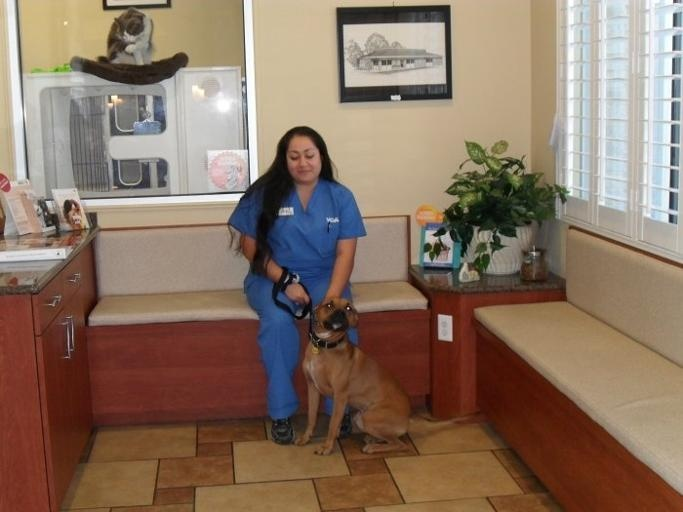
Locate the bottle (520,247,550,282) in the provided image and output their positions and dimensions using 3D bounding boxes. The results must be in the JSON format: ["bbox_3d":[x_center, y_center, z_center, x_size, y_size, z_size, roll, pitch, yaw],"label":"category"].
[{"bbox_3d":[1.030,0.043,3.132,0.153,0.185,0.159,-2,6,-11],"label":"bottle"}]

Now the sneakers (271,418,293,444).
[{"bbox_3d":[-0.290,0.866,2.829,0.091,0.047,0.124,0,-1,-4],"label":"sneakers"}]

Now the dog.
[{"bbox_3d":[0.228,0.588,2.798,0.830,0.701,0.306,3,-6,-20],"label":"dog"}]

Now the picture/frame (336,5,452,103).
[{"bbox_3d":[0.294,-1.260,3.464,0.538,0.432,0.028,-1,5,-6],"label":"picture/frame"}]

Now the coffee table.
[{"bbox_3d":[0.806,0.384,3.352,0.771,0.801,0.688,-2,9,-8],"label":"coffee table"}]

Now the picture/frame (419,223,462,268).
[{"bbox_3d":[0.584,-0.068,3.305,0.240,0.277,0.028,0,4,4],"label":"picture/frame"}]

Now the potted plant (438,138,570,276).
[{"bbox_3d":[0.862,-0.307,3.243,0.695,0.732,0.699,-3,4,-42],"label":"potted plant"}]

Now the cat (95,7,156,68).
[{"bbox_3d":[-1.252,-1.295,3.445,0.354,0.376,0.289,5,13,-1],"label":"cat"}]
